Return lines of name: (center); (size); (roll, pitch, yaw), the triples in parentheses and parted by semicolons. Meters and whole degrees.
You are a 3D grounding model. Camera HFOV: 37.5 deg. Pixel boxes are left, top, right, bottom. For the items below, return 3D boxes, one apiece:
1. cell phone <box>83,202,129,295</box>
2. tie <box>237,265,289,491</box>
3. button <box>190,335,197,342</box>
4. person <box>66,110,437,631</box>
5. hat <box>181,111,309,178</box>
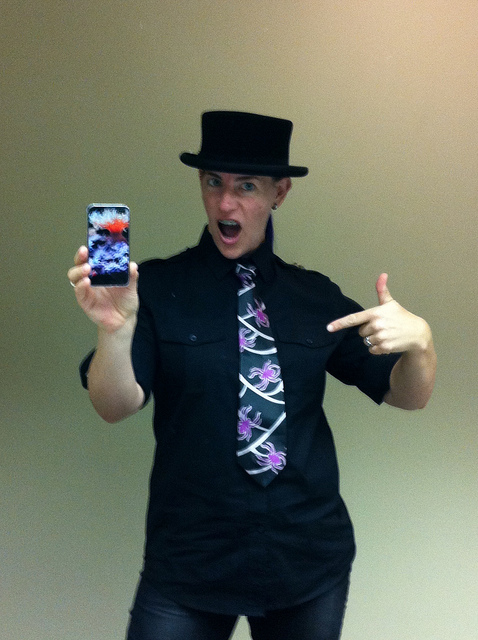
cell phone: (-0.325, -0.185, 1.741); (0.101, 0.199, 0.083); (1, 6, -12)
tie: (0.071, 0.226, 2.069); (0.151, 0.476, 0.232); (2, 6, 0)
button: (-0.131, 0.054, 2.028); (0.017, 0.018, 0.020); (4, 6, 20)
person: (0.006, 0.340, 2.124); (1.120, 1.231, 0.503); (-1, 7, -23)
hat: (0.021, -0.579, 2.295); (0.421, 0.168, 0.487); (18, 22, 35)
